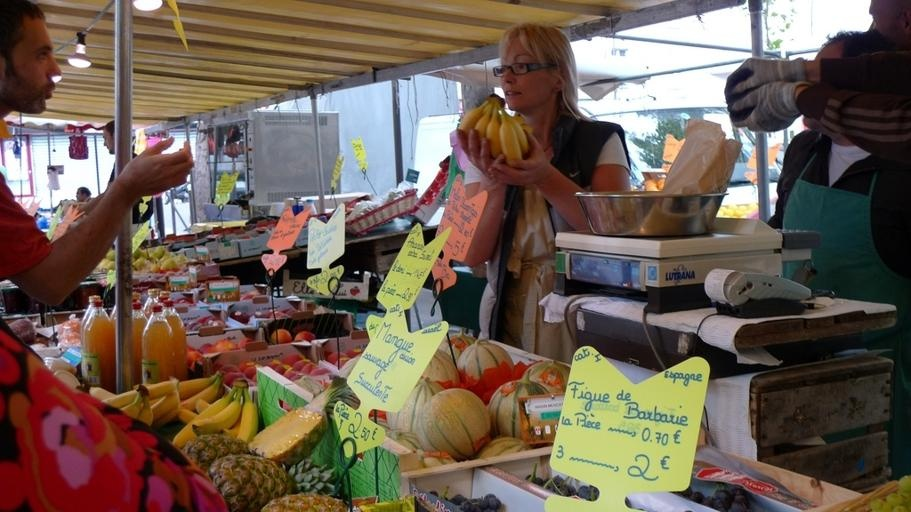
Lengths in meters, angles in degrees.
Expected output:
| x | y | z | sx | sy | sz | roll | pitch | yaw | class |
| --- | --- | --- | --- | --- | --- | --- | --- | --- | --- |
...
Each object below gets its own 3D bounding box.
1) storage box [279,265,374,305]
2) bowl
| x | y | z | sx | sy | sz | roll | pitch | yaw | class |
| --- | --- | --- | --- | --- | --- | --- | --- | --- | --- |
| -0.953 | 0.222 | 4.823 | 0.596 | 0.152 | 0.302 | 1 | 1 | 14 | storage box |
| 0.895 | -0.192 | 2.990 | 0.656 | 0.210 | 0.249 | 1 | 4 | 8 | bowl |
